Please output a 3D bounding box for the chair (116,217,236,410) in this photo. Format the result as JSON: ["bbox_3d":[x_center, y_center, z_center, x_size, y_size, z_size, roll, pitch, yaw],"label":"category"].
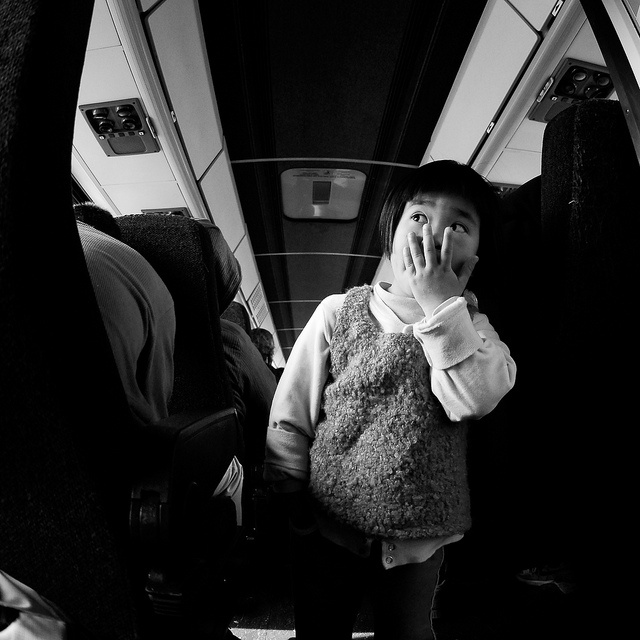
[{"bbox_3d":[-0.342,-0.002,1.456,0.285,0.616,0.339,3,16,10],"label":"chair"}]

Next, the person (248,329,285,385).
[{"bbox_3d":[-0.377,0.216,3.989,0.282,0.286,0.845,-13,0,4],"label":"person"}]
